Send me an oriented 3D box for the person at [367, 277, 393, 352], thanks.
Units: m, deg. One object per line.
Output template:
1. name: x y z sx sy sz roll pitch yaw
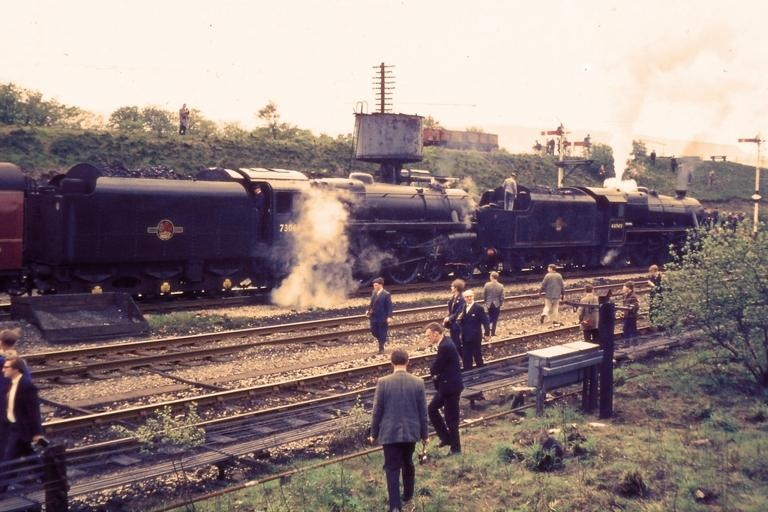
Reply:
1. person: -0.143 1.644 18.490 0.626 2.181 1.203 1 8 1

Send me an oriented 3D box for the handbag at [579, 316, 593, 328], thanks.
1. handbag: 5.702 1.896 18.349 0.141 0.312 0.402 -5 10 -41

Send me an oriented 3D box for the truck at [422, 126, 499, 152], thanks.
1. truck: 7.587 -11.568 64.264 2.605 2.181 12.558 7 9 34

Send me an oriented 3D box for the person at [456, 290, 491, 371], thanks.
1. person: 2.331 1.919 16.969 0.832 2.198 0.836 0 8 -13

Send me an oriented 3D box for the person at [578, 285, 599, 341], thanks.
1. person: 5.811 1.751 18.500 0.535 1.570 1.719 4 8 17

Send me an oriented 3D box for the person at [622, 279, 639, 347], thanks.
1. person: 7.539 1.726 19.821 0.440 1.896 0.856 4 8 21

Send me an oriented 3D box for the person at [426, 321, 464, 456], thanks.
1. person: 1.275 2.774 13.287 0.753 2.504 0.628 0 8 -12
